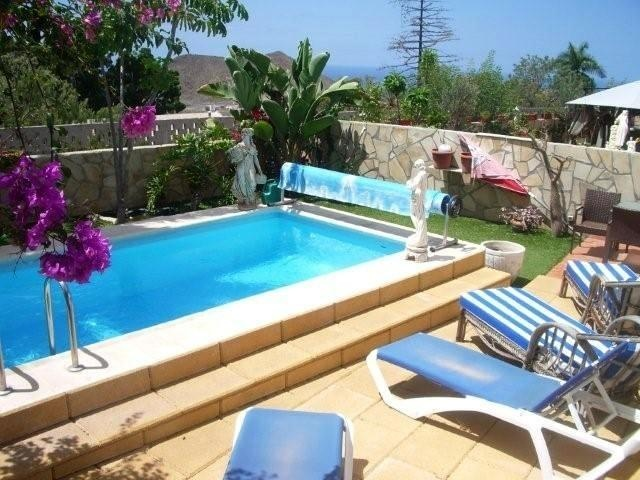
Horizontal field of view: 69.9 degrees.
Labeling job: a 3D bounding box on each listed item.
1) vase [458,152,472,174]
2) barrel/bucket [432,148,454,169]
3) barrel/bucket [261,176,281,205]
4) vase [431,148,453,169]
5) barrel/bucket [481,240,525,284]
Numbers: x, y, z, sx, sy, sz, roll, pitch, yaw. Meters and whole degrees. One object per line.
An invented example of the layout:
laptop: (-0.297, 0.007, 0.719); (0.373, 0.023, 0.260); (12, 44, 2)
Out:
vase: (3.500, -1.853, 10.984); (0.382, 0.353, 0.408); (-6, 16, -12)
barrel/bucket: (3.011, -1.996, 11.326); (0.444, 0.376, 0.459); (-1, 20, 0)
barrel/bucket: (-1.122, -1.111, 10.172); (0.485, 0.578, 0.441); (0, 17, 0)
vase: (3.017, -2.003, 11.355); (0.454, 0.377, 0.449); (-18, 27, -41)
barrel/bucket: (3.026, 0.406, 7.777); (0.629, 0.739, 0.669); (-1, 17, 0)
